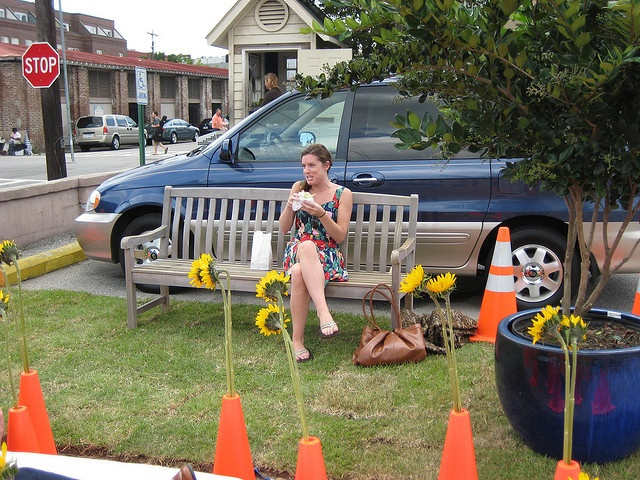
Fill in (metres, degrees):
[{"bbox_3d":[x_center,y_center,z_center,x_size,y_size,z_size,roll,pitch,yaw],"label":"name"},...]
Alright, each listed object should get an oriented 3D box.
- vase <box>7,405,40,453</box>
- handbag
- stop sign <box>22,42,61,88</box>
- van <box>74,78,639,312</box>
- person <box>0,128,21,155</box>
[{"bbox_3d":[-1.601,1.011,2.785,0.176,0.262,0.108,3,9,8],"label":"vase"},{"bbox_3d":[0.578,0.743,4.485,0.617,0.785,0.319,-2,-28,-1],"label":"handbag"},{"bbox_3d":[-5.182,-3.250,9.792,0.621,0.814,0.574,-2,10,-19],"label":"stop sign"},{"bbox_3d":[0.311,-0.688,6.781,5.560,2.422,2.625,2,2,6],"label":"van"},{"bbox_3d":[-18.371,-5.837,31.309,0.898,1.522,0.930,3,9,8],"label":"person"}]
